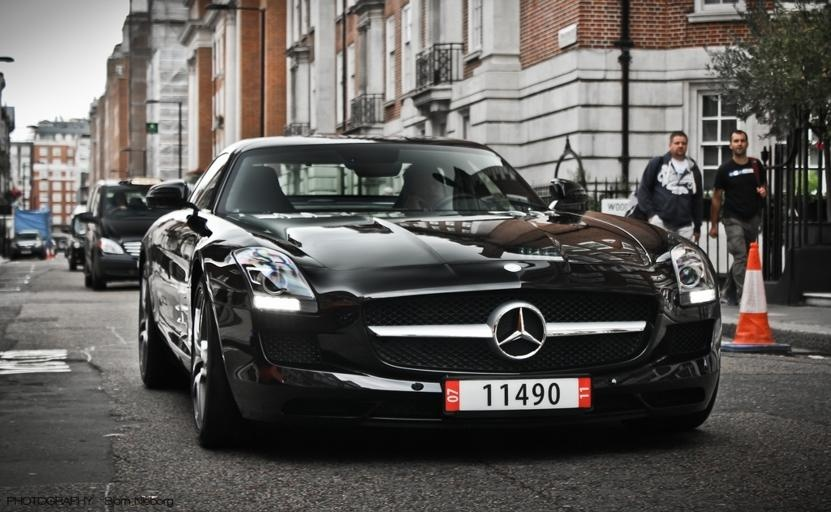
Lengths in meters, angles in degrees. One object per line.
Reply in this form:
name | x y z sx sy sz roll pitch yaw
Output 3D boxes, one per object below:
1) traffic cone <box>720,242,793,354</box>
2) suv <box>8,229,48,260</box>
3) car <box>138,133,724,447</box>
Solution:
traffic cone | 3.822 0.458 10.188 0.719 1.198 0.757 1 3 20
suv | -26.972 -0.826 63.489 2.088 1.610 4.364 -1 -2 -13
car | 0.050 -0.026 6.113 2.135 1.156 3.996 1 -1 -15
